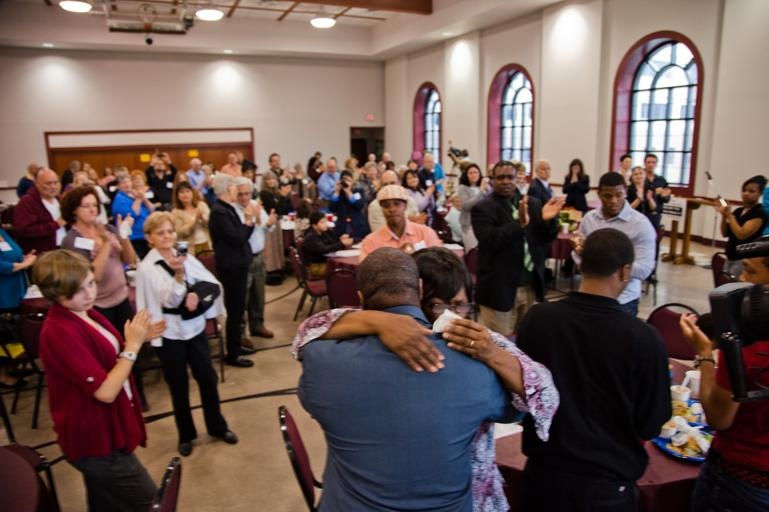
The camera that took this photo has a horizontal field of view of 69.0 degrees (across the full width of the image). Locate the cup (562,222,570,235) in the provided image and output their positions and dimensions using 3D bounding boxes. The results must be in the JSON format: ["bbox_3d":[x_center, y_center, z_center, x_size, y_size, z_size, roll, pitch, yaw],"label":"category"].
[{"bbox_3d":[2.327,-0.352,7.196,0.127,0.137,0.123,-1,11,0],"label":"cup"}]

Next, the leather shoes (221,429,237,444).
[{"bbox_3d":[-1.281,1.500,4.619,0.145,0.063,0.080,30,36,35],"label":"leather shoes"}]

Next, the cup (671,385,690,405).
[{"bbox_3d":[1.828,0.853,3.445,0.105,0.079,0.103,0,-1,0],"label":"cup"}]

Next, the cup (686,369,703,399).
[{"bbox_3d":[1.994,0.805,3.509,0.156,0.113,0.102,-15,14,-30],"label":"cup"}]

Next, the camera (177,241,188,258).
[{"bbox_3d":[-1.559,-0.048,4.305,0.112,0.127,0.110,-3,19,-30],"label":"camera"}]
